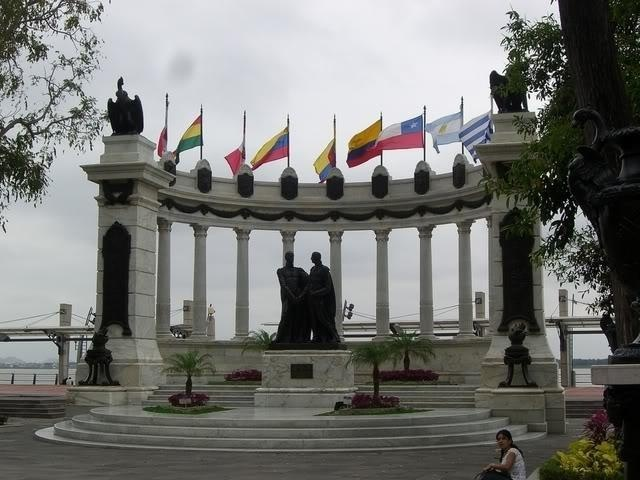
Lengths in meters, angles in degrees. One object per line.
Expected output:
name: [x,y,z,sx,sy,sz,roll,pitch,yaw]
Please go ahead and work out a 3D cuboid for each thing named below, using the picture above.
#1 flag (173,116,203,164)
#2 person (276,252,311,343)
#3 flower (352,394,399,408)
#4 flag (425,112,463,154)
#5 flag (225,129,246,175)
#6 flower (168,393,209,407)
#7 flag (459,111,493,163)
flag: [-6.792,-5.279,53.118,1.297,2.668,2.215,0,-12,-11]
person: [-1.001,2.221,38.449,1.228,3.561,0.856,-2,-12,-2]
flower: [1.838,5.588,34.710,1.861,0.548,0.947,9,-17,-43]
flag: [6.490,-5.583,52.430,1.760,2.058,1.112,-5,-12,10]
flag: [-4.523,-4.522,54.999,0.936,2.496,2.739,-2,-12,-2]
flower: [-4.555,5.677,35.374,0.875,0.522,1.369,-11,-15,35]
flag: [7.707,-5.012,50.255,1.371,2.508,2.335,-1,-12,-6]
